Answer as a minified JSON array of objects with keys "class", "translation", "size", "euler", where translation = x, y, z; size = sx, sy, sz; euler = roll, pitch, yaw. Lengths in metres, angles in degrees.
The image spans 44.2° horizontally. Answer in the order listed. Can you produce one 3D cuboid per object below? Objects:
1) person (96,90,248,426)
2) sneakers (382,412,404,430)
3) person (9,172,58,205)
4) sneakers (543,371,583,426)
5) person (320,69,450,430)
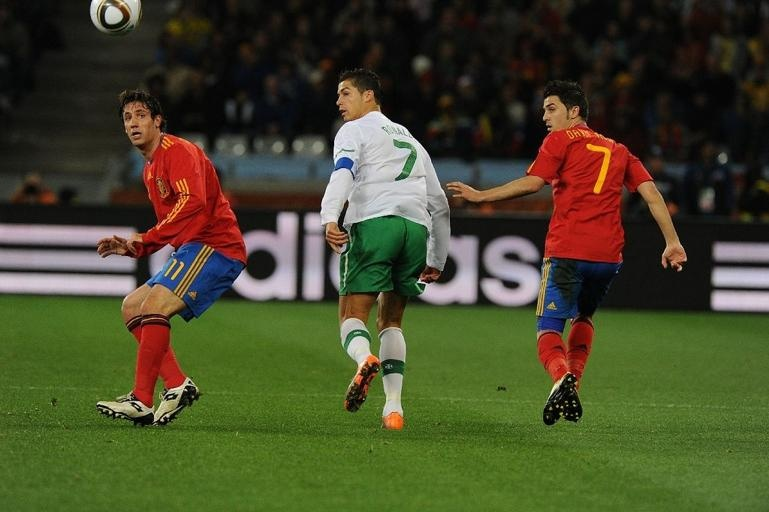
[{"class":"person","translation":[-1.766,0.006,7.959],"size":[1.136,2.751,0.687],"euler":[-1,7,-13]},{"class":"sneakers","translation":[0.081,1.374,7.892],"size":[0.167,0.171,0.165],"euler":[1,7,-3]},{"class":"person","translation":[-5.492,-0.986,15.040],"size":[0.728,0.372,0.961],"euler":[-1,4,-9]},{"class":"sneakers","translation":[1.486,1.203,7.783],"size":[0.257,0.454,0.229],"euler":[16,-4,7]},{"class":"person","translation":[0.001,-0.086,8.103],"size":[0.856,2.969,1.206],"euler":[3,8,20]}]
